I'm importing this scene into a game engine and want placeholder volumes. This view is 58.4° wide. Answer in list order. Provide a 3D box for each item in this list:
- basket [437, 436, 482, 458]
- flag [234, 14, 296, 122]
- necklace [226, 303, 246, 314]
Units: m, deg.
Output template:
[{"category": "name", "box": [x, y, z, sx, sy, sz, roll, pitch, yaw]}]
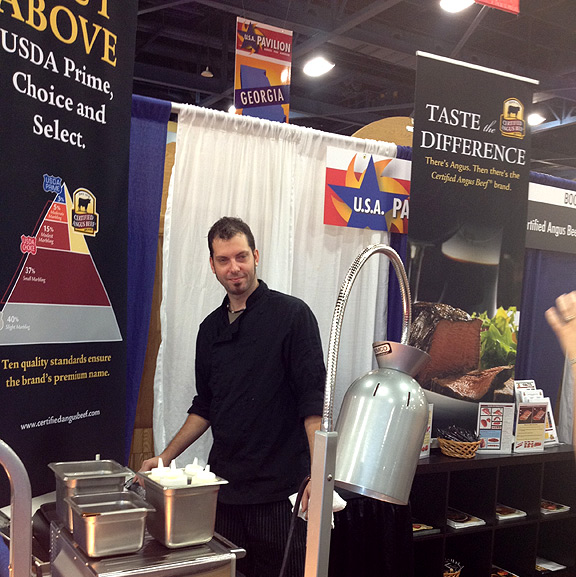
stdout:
[{"category": "basket", "box": [0.995, 0.924, 2.996, 0.137, 0.061, 0.135, 1, -3, 7]}, {"category": "flag", "box": [-0.200, -1.699, 4.014, 0.445, 0.900, 0.791, 2, -1, -1]}, {"category": "necklace", "box": [-0.225, 0.092, 2.254, 0.041, 0.024, 0.061, 0, -20, 2]}]
